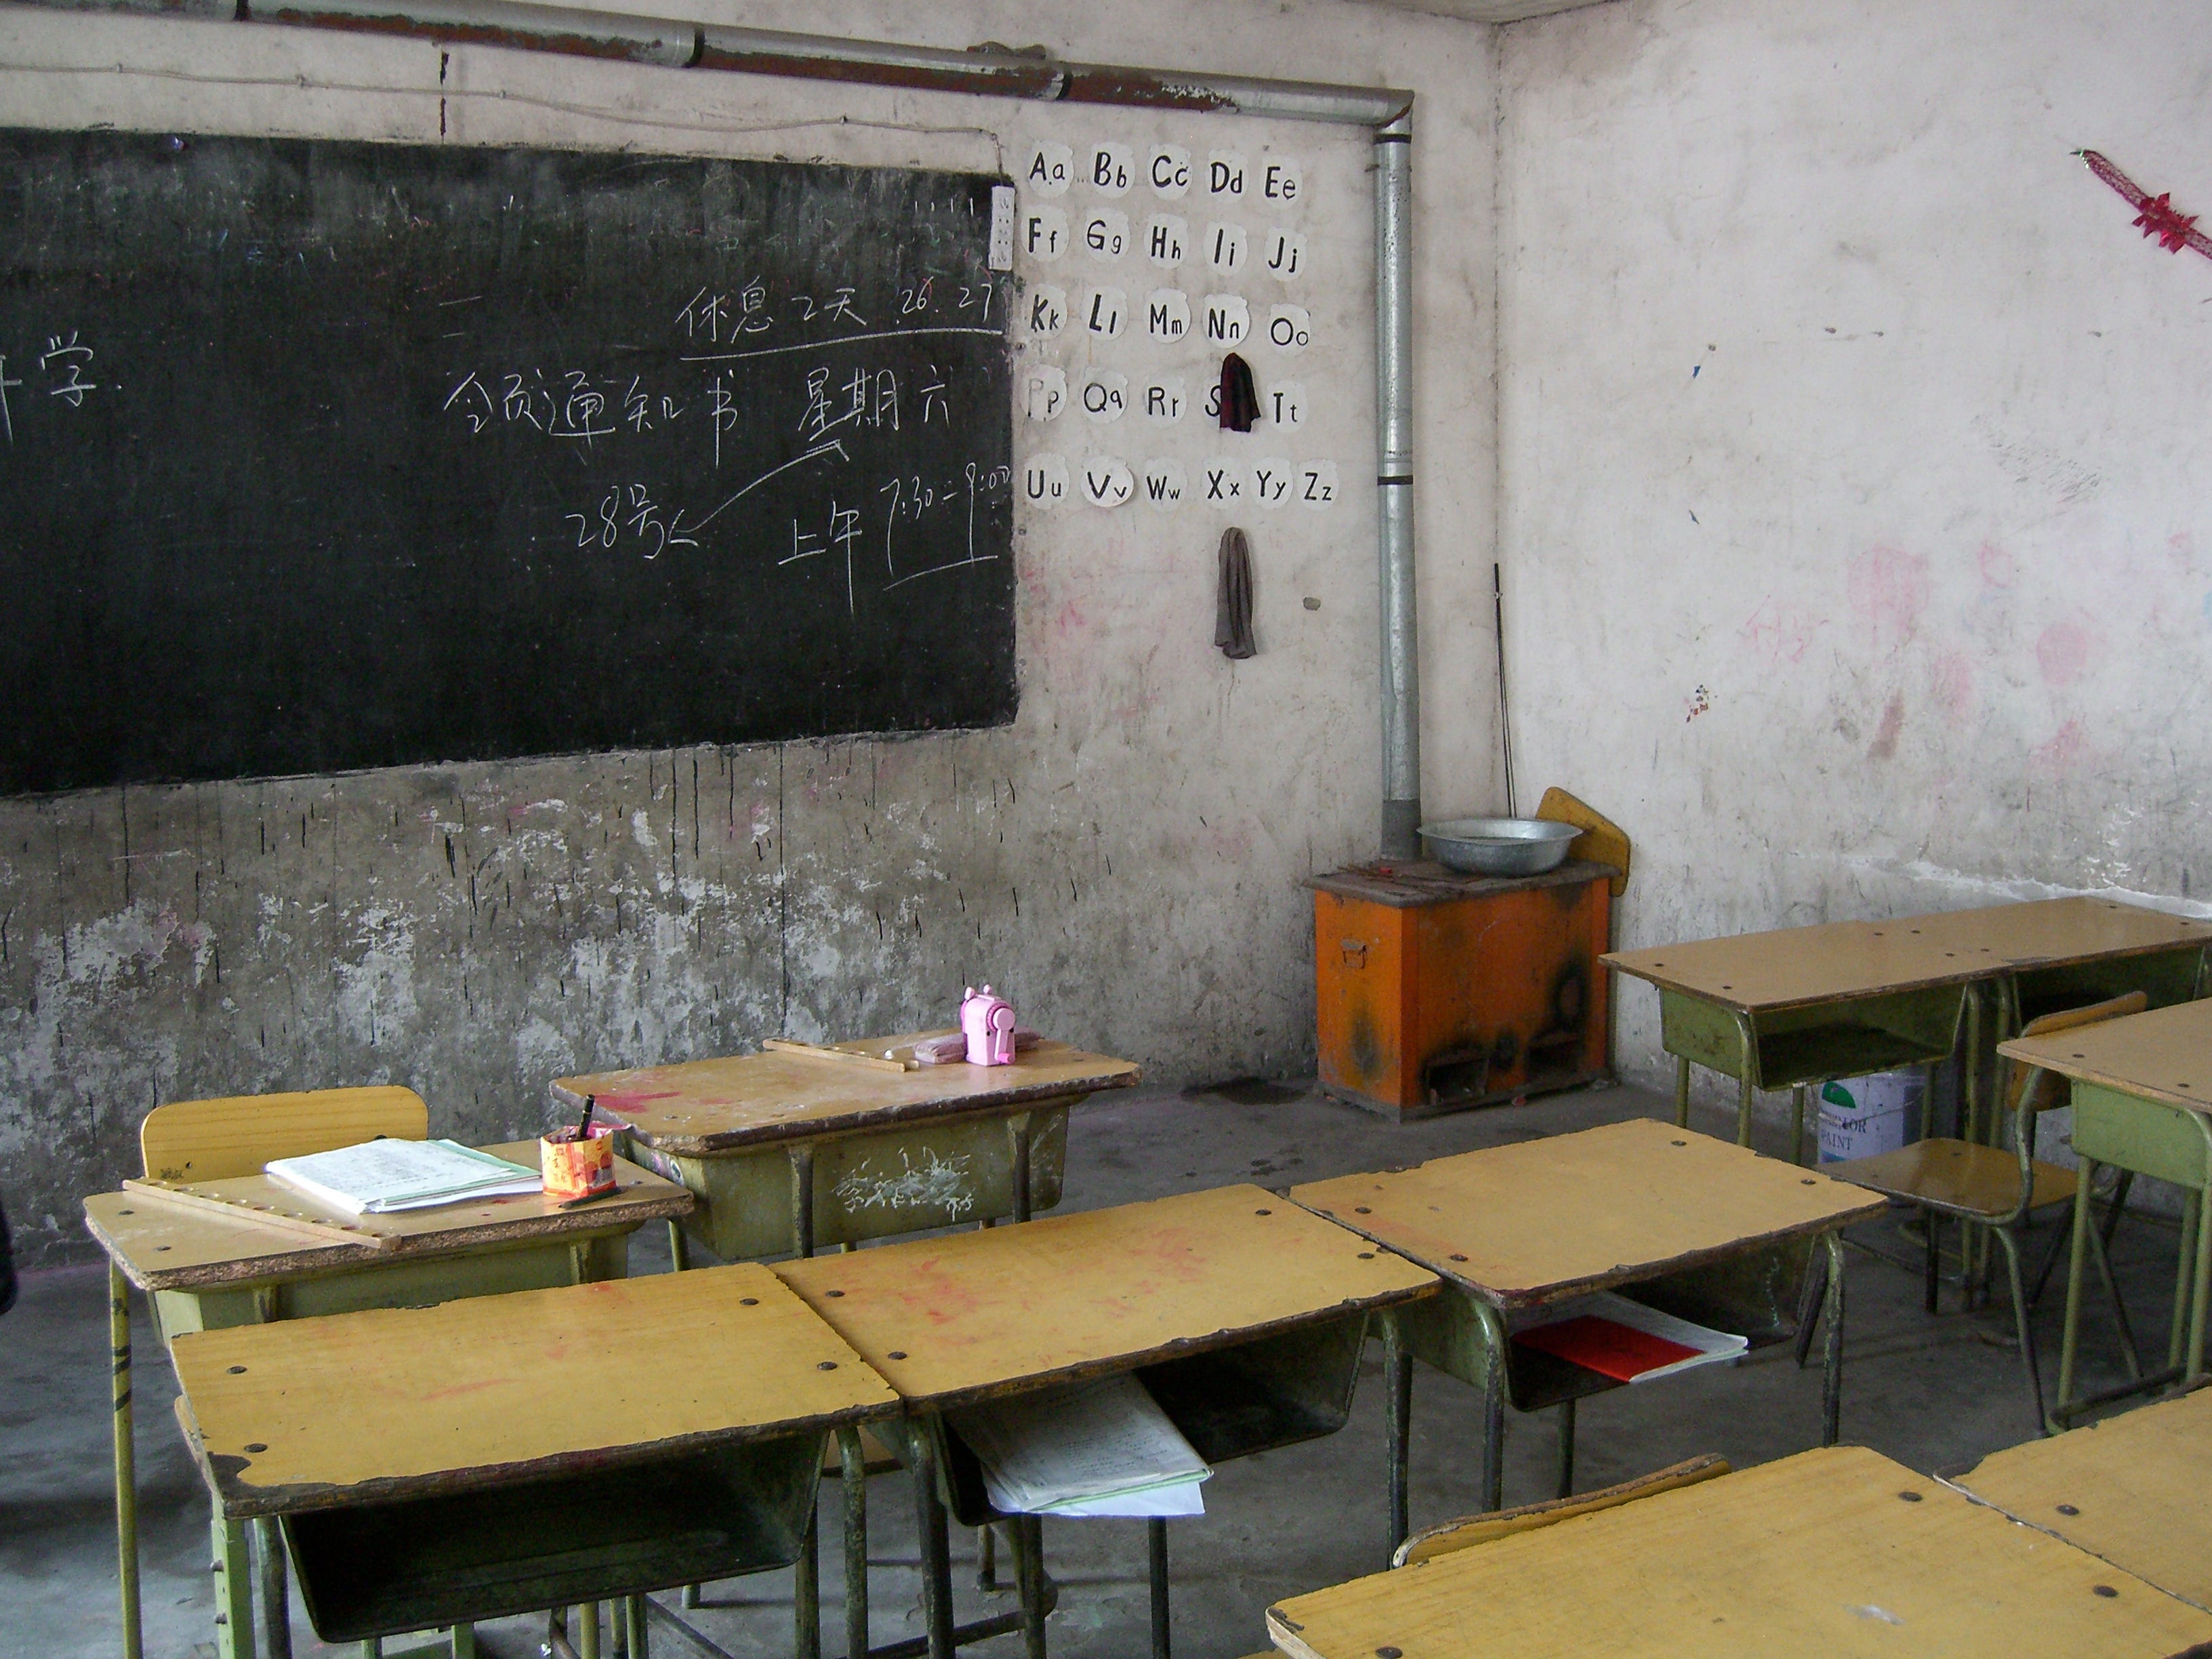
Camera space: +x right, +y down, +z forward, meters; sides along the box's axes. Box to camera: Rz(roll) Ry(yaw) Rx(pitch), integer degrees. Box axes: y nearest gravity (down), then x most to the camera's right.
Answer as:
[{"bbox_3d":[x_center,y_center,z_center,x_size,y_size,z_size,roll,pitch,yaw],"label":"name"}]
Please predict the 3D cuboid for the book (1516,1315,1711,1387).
[{"bbox_3d":[0.865,0.899,3.392,0.161,0.022,0.149,-6,10,-35],"label":"book"}]

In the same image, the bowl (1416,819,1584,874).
[{"bbox_3d":[1.347,0.065,6.809,0.554,0.162,0.595,-2,5,0],"label":"bowl"}]

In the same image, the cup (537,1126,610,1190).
[{"bbox_3d":[-0.942,0.581,3.497,0.100,0.074,0.099,1,4,0],"label":"cup"}]
